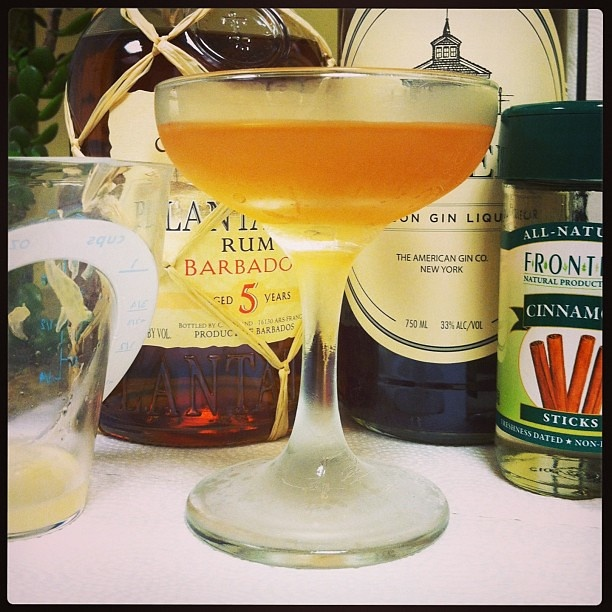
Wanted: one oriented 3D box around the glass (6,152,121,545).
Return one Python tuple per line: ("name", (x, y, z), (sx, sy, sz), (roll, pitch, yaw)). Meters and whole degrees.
("glass", (-0.159, 0.029, 0.439), (0.038, 0.240, 0.089), (12, 20, 38))
